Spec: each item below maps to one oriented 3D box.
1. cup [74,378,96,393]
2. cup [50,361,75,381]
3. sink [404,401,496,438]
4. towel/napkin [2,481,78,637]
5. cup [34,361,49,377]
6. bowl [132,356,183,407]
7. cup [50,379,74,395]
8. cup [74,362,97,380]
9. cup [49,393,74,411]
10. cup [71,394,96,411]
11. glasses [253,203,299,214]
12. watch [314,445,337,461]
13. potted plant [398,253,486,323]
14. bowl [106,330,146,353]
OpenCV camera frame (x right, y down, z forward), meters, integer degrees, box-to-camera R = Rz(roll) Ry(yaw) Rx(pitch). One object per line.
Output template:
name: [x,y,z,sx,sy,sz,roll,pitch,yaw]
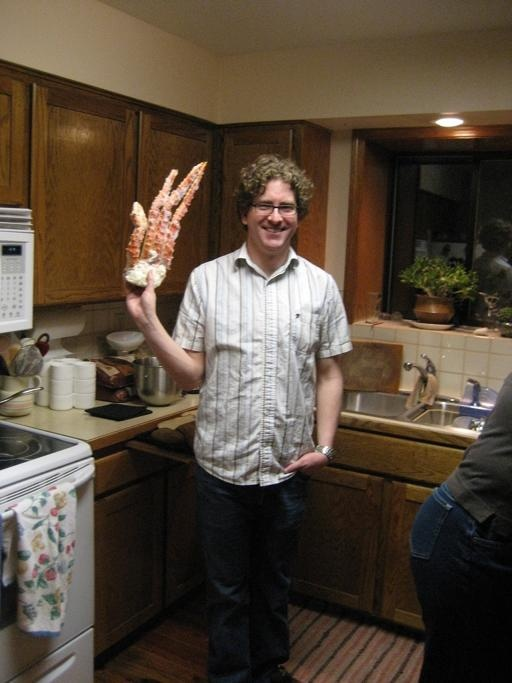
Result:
cup: [-0.627,0.159,2.041,0.058,0.036,0.054,3,2,0]
cup: [-0.702,0.097,2.015,0.073,0.047,0.068,3,11,-1]
sink: [0.766,0.250,2.228,0.256,0.111,0.307,3,6,29]
towel/napkin: [-0.511,0.535,1.361,0.092,0.342,0.190,5,8,7]
cup: [-0.774,0.098,2.012,0.052,0.044,0.047,-3,47,-20]
bowl: [-0.366,0.164,2.160,0.231,0.161,0.203,0,-3,-6]
cup: [-0.703,0.162,2.012,0.064,0.041,0.060,4,5,0]
cup: [-0.639,0.104,2.076,0.077,0.063,0.100,1,7,-15]
cup: [-0.710,0.218,2.021,0.067,0.043,0.064,3,3,0]
cup: [-0.636,0.219,2.051,0.065,0.042,0.062,2,-2,0]
glasses: [0.046,-0.332,1.392,0.100,0.028,0.028,3,7,-1]
watch: [0.195,0.308,1.566,0.052,0.034,0.056,-15,-30,35]
potted plant: [0.857,-0.248,2.663,0.348,0.317,0.231,8,9,32]
bowl: [-0.606,-0.004,2.601,0.157,0.073,0.151,4,30,-2]
